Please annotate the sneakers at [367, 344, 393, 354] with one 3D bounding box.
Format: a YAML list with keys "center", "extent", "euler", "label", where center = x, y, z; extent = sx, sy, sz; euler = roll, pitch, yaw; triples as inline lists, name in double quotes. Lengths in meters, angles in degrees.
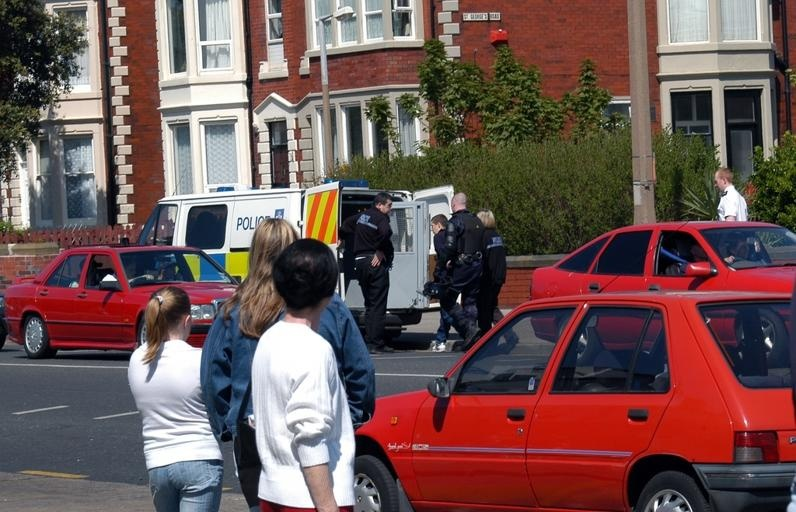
- center: [-0.365, 1.881, 30.854]
  extent: [0.510, 0.218, 0.188]
  euler: [-2, 2, -17]
  label: "sneakers"

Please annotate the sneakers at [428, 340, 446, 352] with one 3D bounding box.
- center: [0.820, 1.839, 31.183]
  extent: [0.144, 0.170, 0.398]
  euler: [0, 4, -8]
  label: "sneakers"

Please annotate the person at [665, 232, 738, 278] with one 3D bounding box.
- center: [4.977, -0.014, 26.551]
  extent: [1.071, 0.497, 0.669]
  euler: [0, 3, 26]
  label: "person"

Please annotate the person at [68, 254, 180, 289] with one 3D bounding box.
- center: [-5.223, 0.283, 31.273]
  extent: [1.422, 0.703, 0.860]
  euler: [1, 3, 30]
  label: "person"

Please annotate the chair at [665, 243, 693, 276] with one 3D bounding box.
- center: [4.751, 0.107, 26.598]
  extent: [0.395, 0.530, 0.487]
  euler: [0, -4, 6]
  label: "chair"

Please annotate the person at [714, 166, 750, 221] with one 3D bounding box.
- center: [6.256, -1.156, 29.491]
  extent: [0.555, 1.028, 2.097]
  euler: [-3, 1, 12]
  label: "person"

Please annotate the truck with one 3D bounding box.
- center: [-2.105, -0.125, 33.043]
  extent: [5.247, 2.514, 3.563]
  euler: [3, 3, 30]
  label: "truck"
